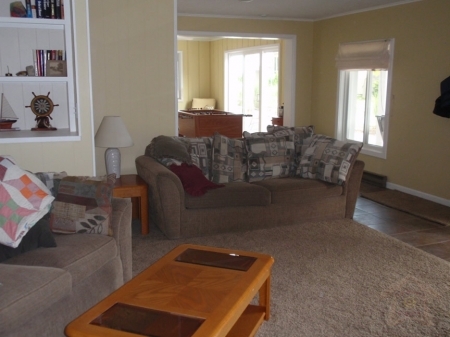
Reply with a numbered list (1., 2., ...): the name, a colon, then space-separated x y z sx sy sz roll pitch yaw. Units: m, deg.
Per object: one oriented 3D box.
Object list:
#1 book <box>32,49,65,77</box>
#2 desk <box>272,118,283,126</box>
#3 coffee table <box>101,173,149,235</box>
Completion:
1. book: -1.787 -1.059 3.475 0.301 0.286 0.099 -1 2 -13
2. desk: 1.221 -1.106 8.056 0.188 0.189 0.477 0 14 -5
3. coffee table: -1.154 0.403 3.998 0.555 0.566 0.582 -5 16 -16
